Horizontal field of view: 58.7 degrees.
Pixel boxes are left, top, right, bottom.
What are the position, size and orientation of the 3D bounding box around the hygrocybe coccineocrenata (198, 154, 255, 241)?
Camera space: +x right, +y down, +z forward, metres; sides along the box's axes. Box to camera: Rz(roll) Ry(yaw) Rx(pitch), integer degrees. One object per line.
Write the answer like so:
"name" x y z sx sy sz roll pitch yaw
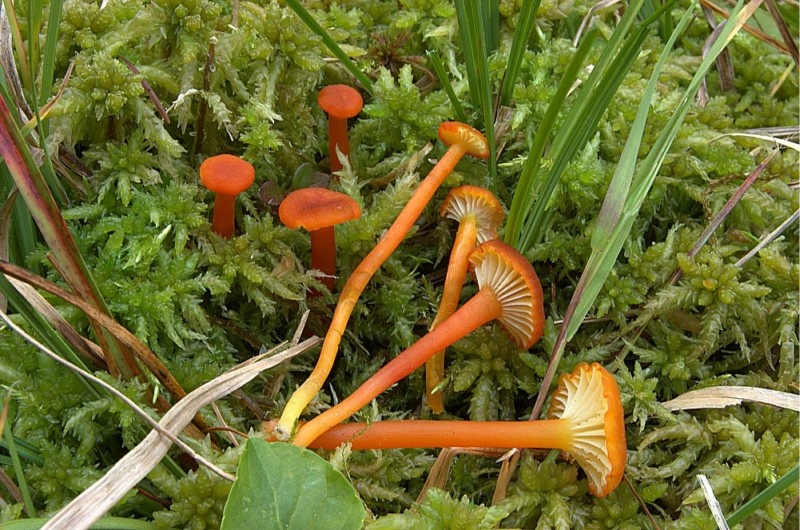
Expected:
"hygrocybe coccineocrenata" -0.806 -0.312 3.335 0.227 0.440 0.304 -7 37 -17
